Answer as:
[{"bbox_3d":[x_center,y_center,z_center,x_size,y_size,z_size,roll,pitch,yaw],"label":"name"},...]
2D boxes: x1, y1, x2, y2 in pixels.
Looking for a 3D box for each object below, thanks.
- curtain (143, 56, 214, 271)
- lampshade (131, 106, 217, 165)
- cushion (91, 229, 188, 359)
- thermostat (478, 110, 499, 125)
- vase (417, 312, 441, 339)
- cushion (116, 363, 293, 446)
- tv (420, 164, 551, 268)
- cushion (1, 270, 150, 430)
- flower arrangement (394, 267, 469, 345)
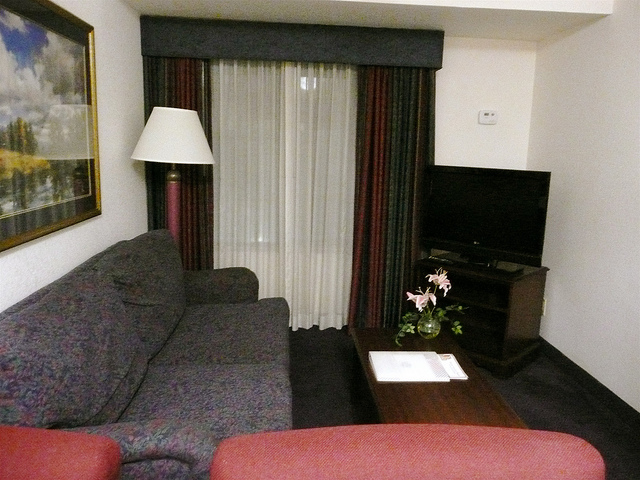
[{"bbox_3d":[-1.242,-0.508,3.960,0.605,0.099,2.355,8,-27,-12],"label":"curtain"},{"bbox_3d":[-0.963,-0.664,3.245,0.449,0.421,0.435,4,14,0],"label":"lampshade"},{"bbox_3d":[-1.017,0.328,2.682,0.265,0.229,0.673,-17,18,3],"label":"cushion"},{"bbox_3d":[1.402,-1.027,3.983,0.126,0.087,0.017,0,12,0],"label":"thermostat"},{"bbox_3d":[0.670,0.540,3.030,0.164,0.180,0.160,1,2,1],"label":"vase"},{"bbox_3d":[-0.523,0.733,2.096,0.580,0.129,0.530,1,7,-1],"label":"cushion"},{"bbox_3d":[1.239,-0.201,3.654,0.111,0.720,1.019,-7,14,-41],"label":"tv"},{"bbox_3d":[-1.083,0.513,2.107,0.377,0.616,0.910,1,5,4],"label":"cushion"},{"bbox_3d":[0.685,0.424,3.049,0.392,0.441,0.415,0,-3,-3],"label":"flower arrangement"}]
